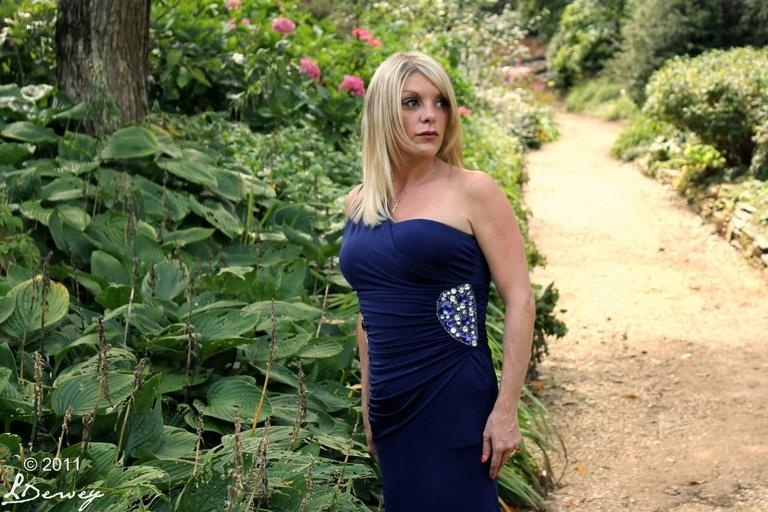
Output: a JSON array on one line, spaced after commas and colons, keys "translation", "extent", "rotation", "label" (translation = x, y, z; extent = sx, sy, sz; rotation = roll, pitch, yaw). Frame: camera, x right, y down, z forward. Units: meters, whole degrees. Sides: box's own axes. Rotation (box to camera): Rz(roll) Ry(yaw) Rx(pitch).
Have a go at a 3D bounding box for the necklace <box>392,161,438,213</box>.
[{"translation": [0.241, -0.462, 7.770], "extent": [0.158, 0.533, 0.026], "rotation": [32, -12, 26], "label": "necklace"}]
